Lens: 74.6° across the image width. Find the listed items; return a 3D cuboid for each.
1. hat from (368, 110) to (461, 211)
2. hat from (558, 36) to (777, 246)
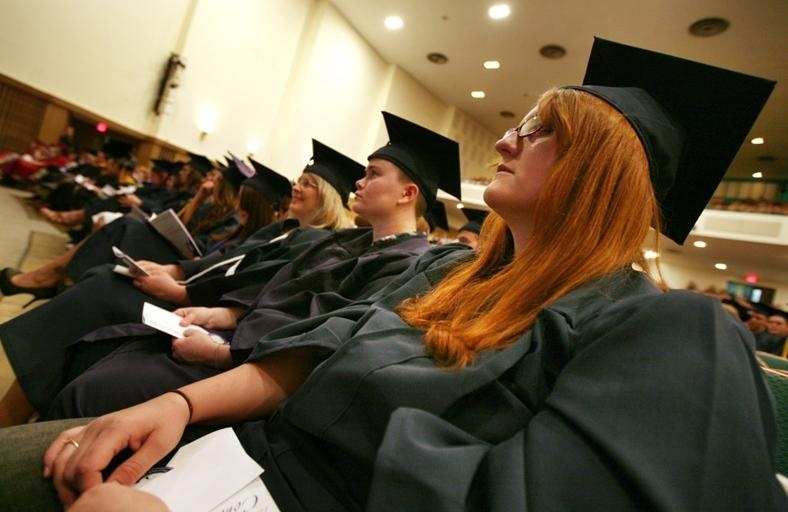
[{"bbox_3d":[0.189,-0.688,3.627,0.619,0.419,0.831,20,-14,17],"label":"hat"},{"bbox_3d":[1.354,-0.503,2.745,1.060,1.069,0.489,16,2,13],"label":"hat"}]
